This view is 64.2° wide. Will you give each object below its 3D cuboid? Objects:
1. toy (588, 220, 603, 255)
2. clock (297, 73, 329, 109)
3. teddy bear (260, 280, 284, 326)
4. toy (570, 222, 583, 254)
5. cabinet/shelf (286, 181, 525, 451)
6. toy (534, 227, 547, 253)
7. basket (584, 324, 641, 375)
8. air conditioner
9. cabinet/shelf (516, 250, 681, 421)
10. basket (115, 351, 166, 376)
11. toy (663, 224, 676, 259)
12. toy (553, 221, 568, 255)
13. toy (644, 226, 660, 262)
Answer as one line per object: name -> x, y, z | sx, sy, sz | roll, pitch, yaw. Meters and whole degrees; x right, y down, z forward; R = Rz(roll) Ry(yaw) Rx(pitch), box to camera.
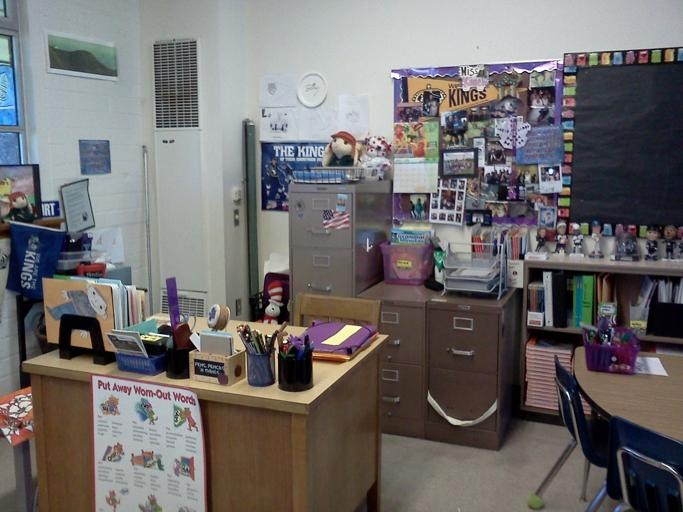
toy -> 1.774, -0.132, 3.794 | 0.078, 0.228, 0.146 | 5, 14, 23
clock -> -0.238, -1.356, 4.406 | 0.256, 0.277, 0.045 | 5, 13, 19
teddy bear -> -0.527, 0.411, 4.336 | 0.145, 0.429, 0.144 | 6, -4, -8
toy -> 1.659, -0.130, 3.849 | 0.077, 0.206, 0.086 | 6, 13, 26
cabinet/shelf -> 0.432, 0.385, 3.459 | 1.547, 1.795, 0.629 | 1, 3, 18
toy -> 1.440, -0.127, 3.929 | 0.076, 0.166, 0.094 | 5, 13, 21
basket -> 1.371, 0.470, 2.780 | 0.178, 0.131, 0.272 | 1, 3, 20
air conditioner -> -1.275, -0.633, 4.508 | 0.682, 2.234, 0.241 | 4, 12, 19
cabinet/shelf -> 1.572, 0.444, 3.291 | 1.026, 1.110, 0.351 | 1, 1, 17
basket -> -0.838, 0.426, 2.261 | 0.144, 0.060, 0.105 | 1, 2, 15
toy -> 2.192, -0.102, 3.650 | 0.082, 0.213, 0.080 | 8, 14, 33
toy -> 1.570, -0.144, 3.884 | 0.086, 0.228, 0.094 | 4, 13, 17
toy -> 2.097, -0.091, 3.672 | 0.093, 0.213, 0.161 | 7, 15, 31
